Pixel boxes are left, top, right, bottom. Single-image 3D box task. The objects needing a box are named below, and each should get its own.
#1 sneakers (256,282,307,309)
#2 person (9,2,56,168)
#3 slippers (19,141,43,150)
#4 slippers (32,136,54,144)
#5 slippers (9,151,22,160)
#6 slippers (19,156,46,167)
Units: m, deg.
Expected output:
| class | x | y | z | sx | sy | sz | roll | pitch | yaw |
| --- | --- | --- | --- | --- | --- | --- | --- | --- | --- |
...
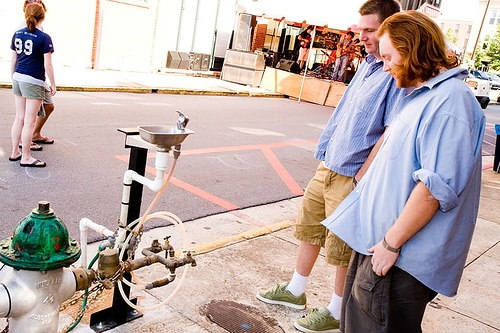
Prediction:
| class | x | y | z | sx | sy | sz | roll | pitch | yaw |
| --- | --- | --- | --- | --- | --- | --- | --- | --- | --- |
| sneakers | 0.305 | 1.234 | 3.346 | 0.486 | 0.191 | 0.163 | 10 | 3 | 11 |
| person | -3.605 | -1.349 | 5.611 | 0.696 | 2.536 | 0.912 | -2 | 19 | -29 |
| slippers | -4.058 | -0.365 | 6.369 | 0.481 | 0.126 | 0.179 | 6 | 13 | 23 |
| slippers | -3.992 | -0.502 | 6.622 | 0.340 | 0.096 | 0.117 | -3 | 16 | -25 |
| slippers | -3.915 | -0.159 | 5.735 | 0.092 | 0.074 | 0.190 | 3 | 12 | 3 |
| slippers | -3.537 | -0.085 | 5.583 | 0.312 | 0.103 | 0.152 | -4 | 15 | -20 |
